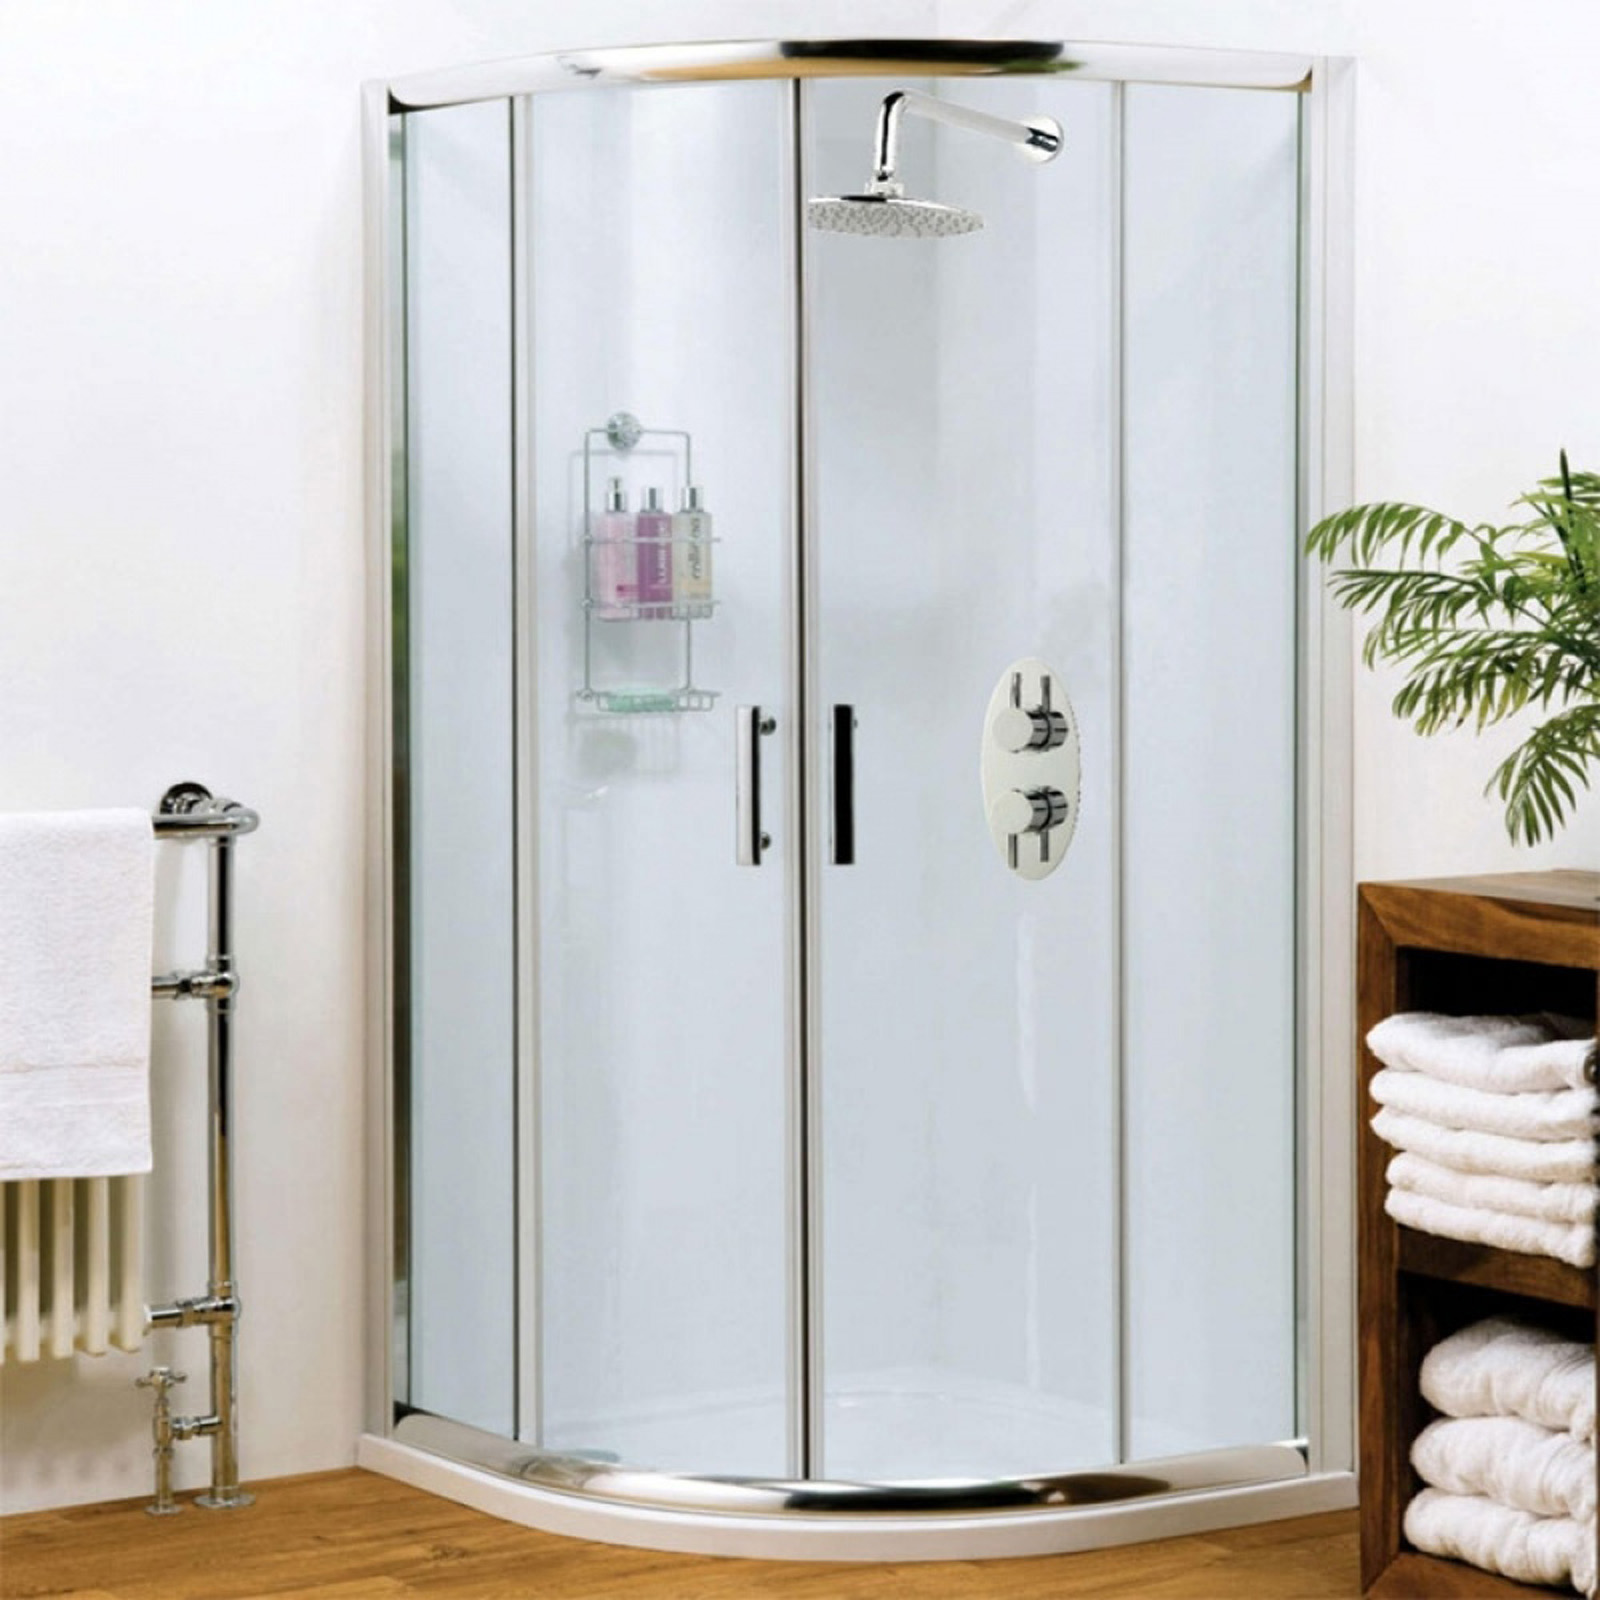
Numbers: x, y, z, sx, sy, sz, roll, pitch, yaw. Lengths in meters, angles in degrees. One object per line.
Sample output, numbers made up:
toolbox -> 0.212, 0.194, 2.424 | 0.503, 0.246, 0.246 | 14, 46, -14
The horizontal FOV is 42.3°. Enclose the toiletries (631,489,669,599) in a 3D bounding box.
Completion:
toiletries -> -0.189, -0.322, 2.621 | 0.057, 0.142, 0.021 | -4, -1, 29

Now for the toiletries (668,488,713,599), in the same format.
toiletries -> -0.136, -0.330, 2.619 | 0.055, 0.040, 0.179 | -7, -45, -9

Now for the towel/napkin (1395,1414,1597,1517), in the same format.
towel/napkin -> 0.775, 0.731, 2.275 | 0.040, 0.108, 0.238 | -4, -1, -32
